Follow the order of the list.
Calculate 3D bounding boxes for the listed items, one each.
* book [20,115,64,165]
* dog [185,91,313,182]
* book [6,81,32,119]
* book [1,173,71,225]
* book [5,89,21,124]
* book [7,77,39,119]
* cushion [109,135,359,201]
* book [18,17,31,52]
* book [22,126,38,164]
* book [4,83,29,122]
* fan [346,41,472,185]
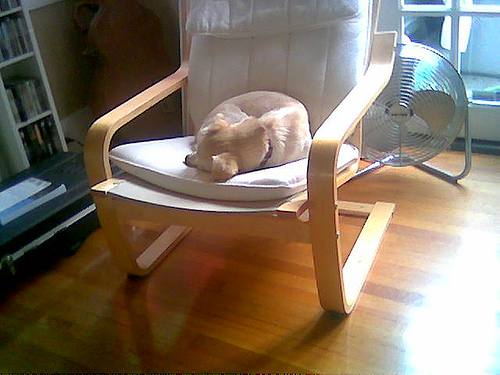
[{"bbox_3d":[-0.952,-0.230,1.877,0.048,0.184,0.189,3,23,45],"label":"book"},{"bbox_3d":[0.009,-0.188,1.375,0.302,0.139,0.383,16,45,43],"label":"dog"},{"bbox_3d":[-1.002,-0.390,1.806,0.030,0.124,0.128,-8,-5,6],"label":"book"},{"bbox_3d":[-0.927,0.068,1.767,0.203,0.051,0.193,12,35,34],"label":"book"},{"bbox_3d":[-1.020,-0.352,1.770,0.037,0.143,0.028,18,30,31],"label":"book"},{"bbox_3d":[-0.985,-0.399,1.825,0.036,0.147,0.145,-13,7,-35],"label":"book"},{"bbox_3d":[-0.135,-0.080,1.409,0.728,0.109,0.288,16,30,25],"label":"cushion"},{"bbox_3d":[-0.989,-0.675,1.796,0.027,0.125,0.019,-20,16,-37],"label":"book"},{"bbox_3d":[-0.984,-0.194,1.832,0.042,0.156,0.026,23,33,38],"label":"book"},{"bbox_3d":[-1.016,-0.369,1.792,0.063,0.147,0.039,16,29,27],"label":"book"},{"bbox_3d":[0.697,-0.342,1.842,0.575,0.647,0.453,4,11,19],"label":"fan"}]
